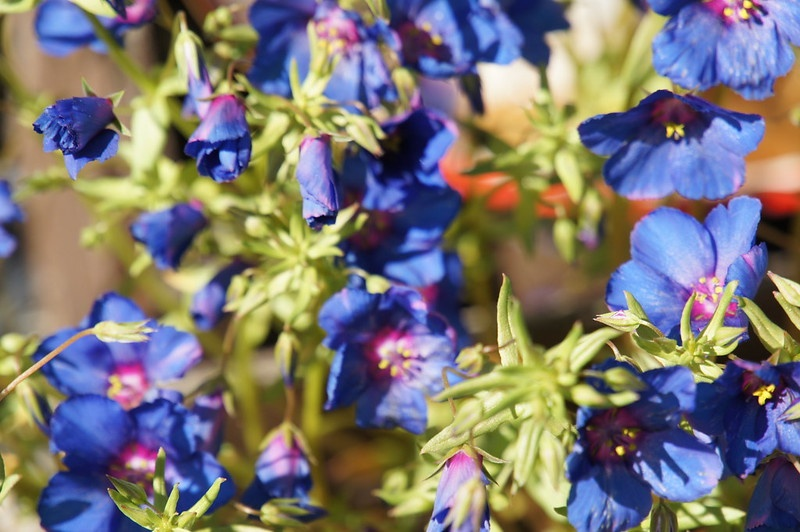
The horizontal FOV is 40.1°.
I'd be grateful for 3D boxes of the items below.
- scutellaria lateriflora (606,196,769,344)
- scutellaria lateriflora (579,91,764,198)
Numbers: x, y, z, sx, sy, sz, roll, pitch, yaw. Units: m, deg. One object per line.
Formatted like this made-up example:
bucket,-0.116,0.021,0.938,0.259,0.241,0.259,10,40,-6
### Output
scutellaria lateriflora,0.654,0.024,2.353,0.413,0.317,0.162,-52,128,-36
scutellaria lateriflora,0.635,-0.340,2.499,0.326,0.341,0.162,7,96,-44
